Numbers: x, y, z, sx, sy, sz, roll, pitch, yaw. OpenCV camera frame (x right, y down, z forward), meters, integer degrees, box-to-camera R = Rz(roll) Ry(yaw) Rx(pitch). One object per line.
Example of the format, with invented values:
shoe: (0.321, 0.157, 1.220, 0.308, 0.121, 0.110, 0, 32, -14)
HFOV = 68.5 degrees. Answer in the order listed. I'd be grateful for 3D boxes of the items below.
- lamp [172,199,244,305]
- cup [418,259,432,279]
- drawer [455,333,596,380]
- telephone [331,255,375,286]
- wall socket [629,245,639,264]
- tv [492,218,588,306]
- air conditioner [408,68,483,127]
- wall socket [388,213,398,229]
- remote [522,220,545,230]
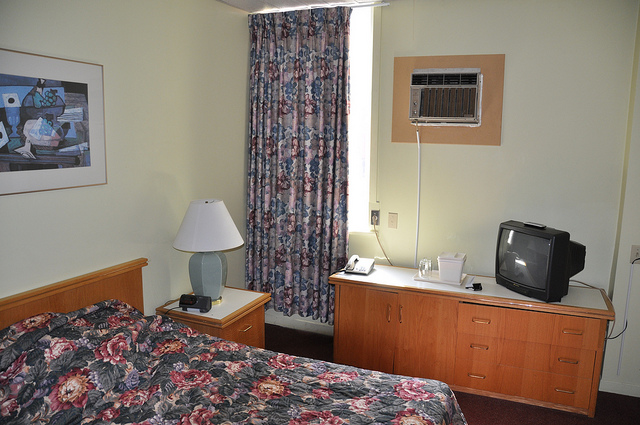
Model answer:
lamp: (-0.997, 0.337, 4.044, 0.571, 0.863, 0.551, 7, 6, 32)
cup: (0.970, 0.513, 4.283, 0.161, 0.166, 0.112, 2, -1, 38)
drawer: (1.709, 1.184, 3.923, 0.907, 0.456, 0.324, 1, 3, 20)
telephone: (0.379, 0.486, 4.444, 0.268, 0.100, 0.289, -16, 24, -37)
wall socket: (2.682, 0.357, 4.001, 0.076, 0.163, 0.020, 4, 10, 7)
tv: (1.921, 0.400, 4.181, 0.700, 0.706, 0.830, 7, 13, 32)
air conditioner: (1.120, -1.033, 4.191, 0.612, 0.487, 0.184, 5, 10, 12)
wall socket: (0.715, 0.082, 4.638, 0.096, 0.156, 0.024, 5, 10, 9)
remote: (1.850, 0.104, 4.063, 0.131, 0.031, 0.132, 6, 4, 21)
